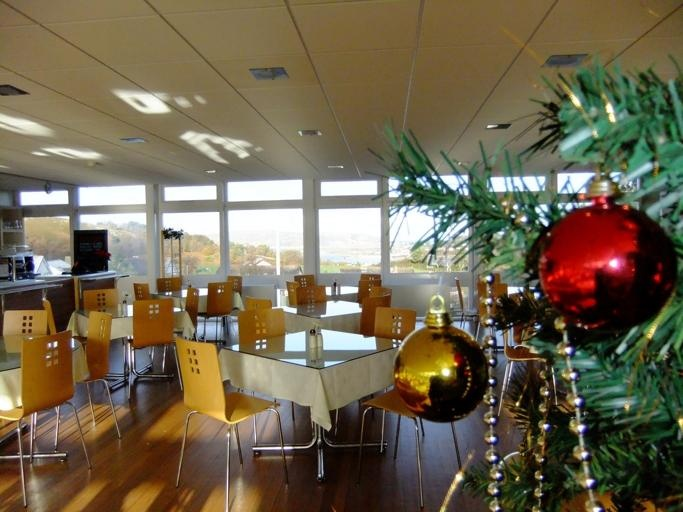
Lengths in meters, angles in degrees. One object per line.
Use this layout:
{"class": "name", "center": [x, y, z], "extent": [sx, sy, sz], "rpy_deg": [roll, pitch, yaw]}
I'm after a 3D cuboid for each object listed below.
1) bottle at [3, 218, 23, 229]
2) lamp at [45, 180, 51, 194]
{"class": "bottle", "center": [-6.930, -0.679, 10.507], "extent": [0.376, 0.221, 0.261], "rpy_deg": [-1, -6, -6]}
{"class": "lamp", "center": [-5.780, -1.388, 9.828], "extent": [0.103, 0.203, 0.046], "rpy_deg": [-4, -1, -6]}
